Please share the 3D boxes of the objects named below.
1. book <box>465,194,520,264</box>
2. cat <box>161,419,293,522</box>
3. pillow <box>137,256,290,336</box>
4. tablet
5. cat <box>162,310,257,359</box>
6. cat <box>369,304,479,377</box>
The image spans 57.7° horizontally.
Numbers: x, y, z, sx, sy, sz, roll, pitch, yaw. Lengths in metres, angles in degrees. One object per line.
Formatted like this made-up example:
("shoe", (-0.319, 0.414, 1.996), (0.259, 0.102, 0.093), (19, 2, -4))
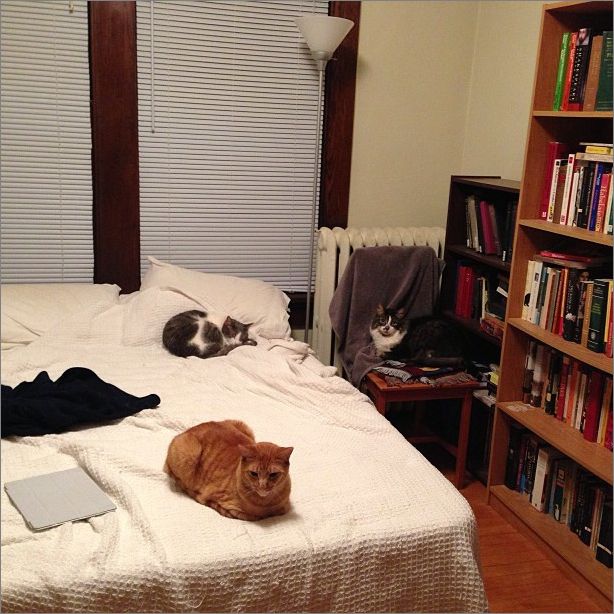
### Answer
("book", (0.877, -0.367, 2.670), (0.241, 0.307, 0.094), (-7, 6, -44))
("cat", (-0.204, 0.395, 1.428), (0.205, 0.154, 0.319), (-15, 29, -39))
("pillow", (-0.464, -0.016, 2.818), (0.598, 0.181, 0.440), (11, 32, -31))
("tablet", (-0.632, 0.490, 1.416), (0.193, 0.027, 0.271), (-10, 17, -40))
("cat", (-0.444, 0.125, 2.537), (0.315, 0.128, 0.235), (1, 22, -14))
("cat", (0.532, 0.160, 2.624), (0.395, 0.191, 0.264), (11, 17, -2))
